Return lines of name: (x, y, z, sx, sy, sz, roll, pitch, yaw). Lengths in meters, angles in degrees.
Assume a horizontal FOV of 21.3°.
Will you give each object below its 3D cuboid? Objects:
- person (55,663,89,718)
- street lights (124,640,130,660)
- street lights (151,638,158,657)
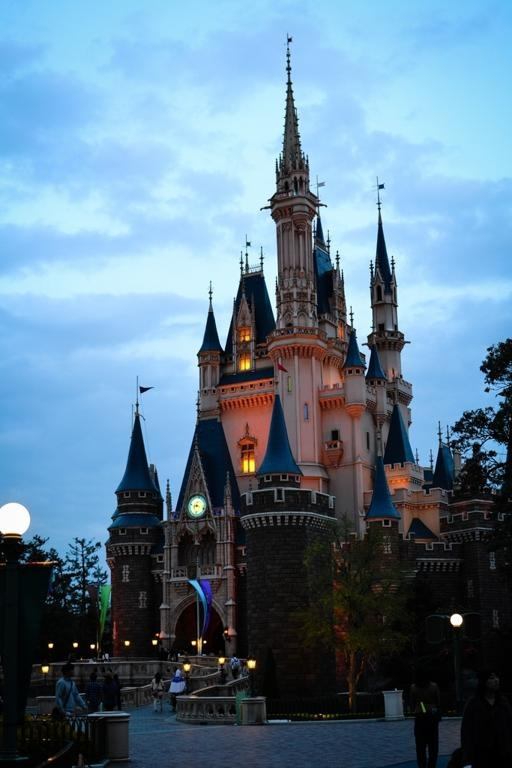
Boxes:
person: (-3.028, 5.232, 22.050, 0.465, 1.322, 0.309, 9, -24, -24)
street lights: (-5.463, 11.182, 57.521, 0.107, 0.655, 0.381, 5, -12, -37)
street lights: (-4.297, 11.174, 57.659, 0.205, 0.717, 0.549, -1, -10, -9)
